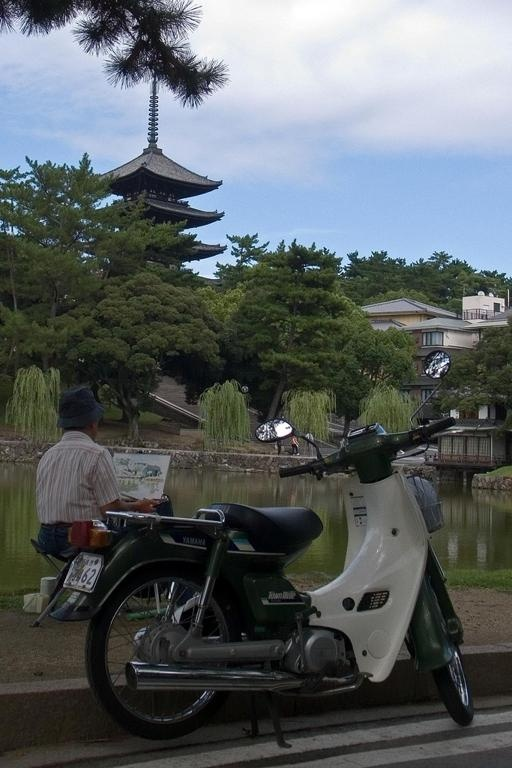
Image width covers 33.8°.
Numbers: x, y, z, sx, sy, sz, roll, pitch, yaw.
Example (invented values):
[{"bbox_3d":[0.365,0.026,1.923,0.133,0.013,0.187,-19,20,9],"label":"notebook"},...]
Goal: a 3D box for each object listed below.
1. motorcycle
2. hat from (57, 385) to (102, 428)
[{"bbox_3d":[0.060,0.750,3.237,1.665,1.247,0.587,-1,4,-25],"label":"motorcycle"},{"bbox_3d":[-0.781,0.104,3.676,0.170,0.097,0.191,-9,26,12],"label":"hat"}]
